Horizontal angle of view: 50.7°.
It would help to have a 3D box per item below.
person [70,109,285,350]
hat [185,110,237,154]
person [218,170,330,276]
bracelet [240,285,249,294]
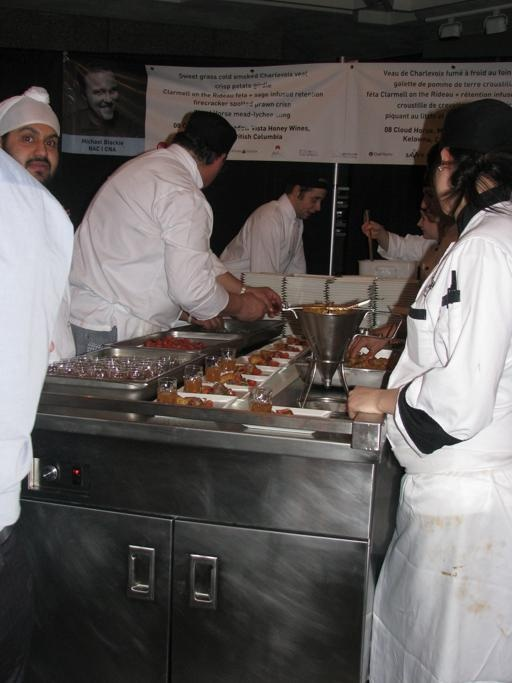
[{"bbox_3d":[-0.340,-0.421,2.094,0.793,0.897,0.535,-1,17,-5],"label":"person"},{"bbox_3d":[-0.186,-0.807,2.183,0.159,0.131,0.197,34,18,10],"label":"hat"},{"bbox_3d":[0.120,-0.815,4.350,0.833,1.040,0.741,13,17,26],"label":"person"},{"bbox_3d":[-0.054,-0.228,2.384,0.040,0.039,0.027,14,0,30],"label":"bracelet"}]
